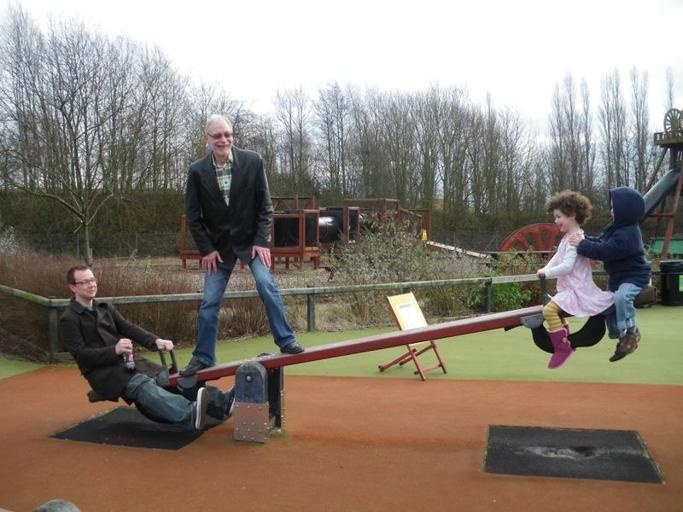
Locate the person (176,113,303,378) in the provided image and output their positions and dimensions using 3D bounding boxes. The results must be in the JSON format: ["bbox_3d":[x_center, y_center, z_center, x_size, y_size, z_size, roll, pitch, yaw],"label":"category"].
[{"bbox_3d":[-1.085,0.005,6.678,1.062,2.379,0.487,-1,8,-4],"label":"person"}]

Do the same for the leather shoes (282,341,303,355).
[{"bbox_3d":[-0.492,0.911,6.620,0.262,0.112,0.098,-8,-4,39],"label":"leather shoes"}]

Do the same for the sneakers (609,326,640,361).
[{"bbox_3d":[2.733,0.846,6.429,0.215,0.312,0.306,4,9,31],"label":"sneakers"}]

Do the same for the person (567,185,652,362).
[{"bbox_3d":[2.649,0.215,6.502,0.627,1.758,0.530,3,9,26],"label":"person"}]

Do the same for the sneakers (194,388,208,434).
[{"bbox_3d":[-1.401,1.537,6.589,0.122,0.424,0.163,4,-1,-30],"label":"sneakers"}]

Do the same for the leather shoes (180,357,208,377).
[{"bbox_3d":[-1.517,1.126,6.722,0.357,0.162,0.128,3,-10,-44],"label":"leather shoes"}]

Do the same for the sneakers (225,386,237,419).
[{"bbox_3d":[-1.149,1.519,6.845,0.128,0.357,0.115,3,-5,0],"label":"sneakers"}]

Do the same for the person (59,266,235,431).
[{"bbox_3d":[-2.064,0.913,6.852,1.748,1.530,0.869,5,7,15],"label":"person"}]
